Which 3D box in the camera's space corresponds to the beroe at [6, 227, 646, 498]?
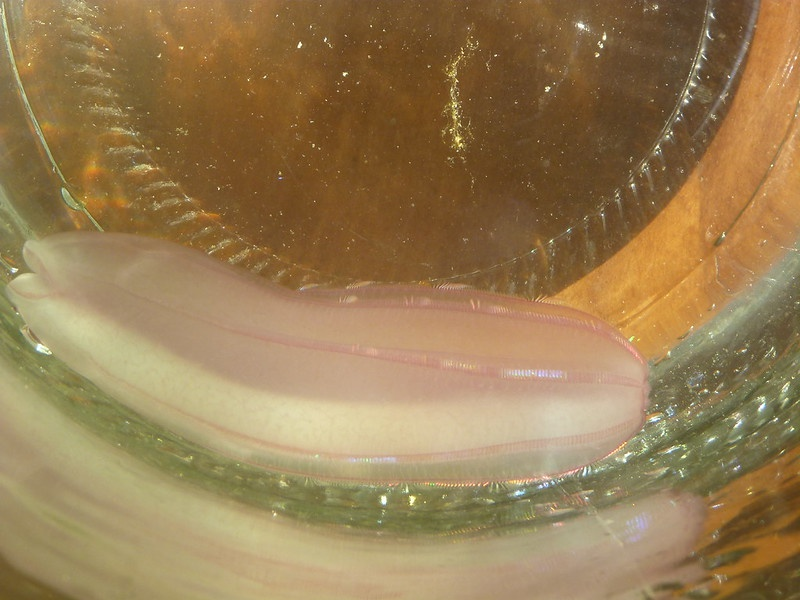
[{"bbox_3d":[-0.101,0.138,1.491,1.265,0.448,0.198,12,-16,-3],"label":"beroe"}]
